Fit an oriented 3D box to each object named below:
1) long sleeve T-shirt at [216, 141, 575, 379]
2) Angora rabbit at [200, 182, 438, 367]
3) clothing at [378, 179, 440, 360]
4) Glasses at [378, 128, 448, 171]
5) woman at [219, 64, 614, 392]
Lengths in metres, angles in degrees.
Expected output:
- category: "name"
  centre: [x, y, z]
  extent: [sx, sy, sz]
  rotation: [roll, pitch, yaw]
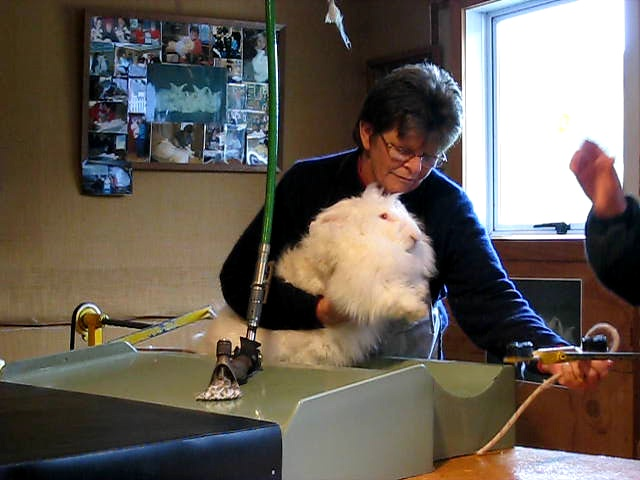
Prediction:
- category: "long sleeve T-shirt"
  centre: [0.276, 0.109, 1.502]
  extent: [0.278, 0.494, 0.870]
  rotation: [15, -19, -25]
- category: "Angora rabbit"
  centre: [0.016, 0.069, 1.340]
  extent: [0.425, 0.355, 0.277]
  rotation: [-8, 6, 30]
- category: "clothing"
  centre: [0.169, 0.062, 1.242]
  extent: [0.084, 0.345, 0.358]
  rotation: [4, -3, 16]
- category: "Glasses"
  centre: [0.221, -0.191, 1.396]
  extent: [0.185, 0.071, 0.088]
  rotation: [-8, 11, -44]
- category: "woman"
  centre: [0.231, -0.013, 1.393]
  extent: [0.752, 0.668, 0.420]
  rotation: [12, 10, 39]
